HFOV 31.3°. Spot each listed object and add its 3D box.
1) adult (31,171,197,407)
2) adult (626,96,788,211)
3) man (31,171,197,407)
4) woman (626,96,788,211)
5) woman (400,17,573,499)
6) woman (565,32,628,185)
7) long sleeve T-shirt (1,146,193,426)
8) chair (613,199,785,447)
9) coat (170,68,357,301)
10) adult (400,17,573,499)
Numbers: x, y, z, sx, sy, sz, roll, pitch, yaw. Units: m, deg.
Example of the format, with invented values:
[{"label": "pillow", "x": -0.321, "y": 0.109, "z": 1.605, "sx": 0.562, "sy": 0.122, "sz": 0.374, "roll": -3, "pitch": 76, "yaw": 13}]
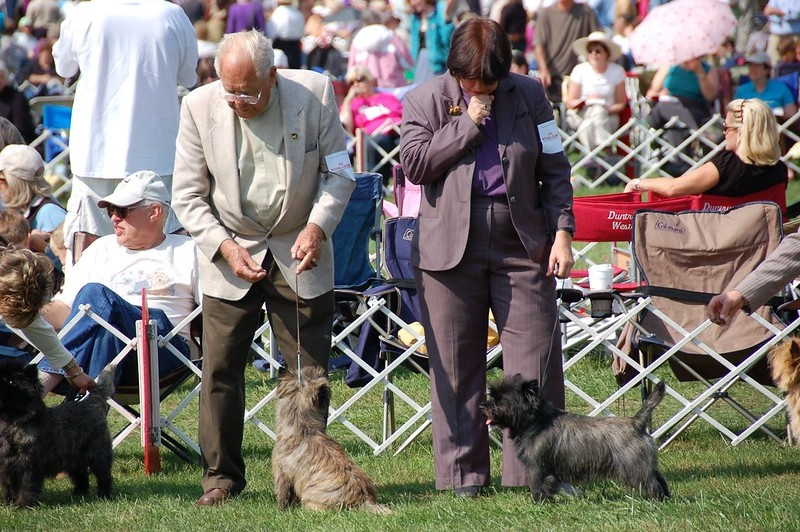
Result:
[{"label": "adult", "x": -2.419, "y": 0.270, "z": 12.364, "sx": 1.240, "sy": 1.984, "sz": 1.130, "roll": -9, "pitch": 19, "yaw": -5}, {"label": "adult", "x": 2.821, "y": -1.059, "z": 13.250, "sx": 1.045, "sy": 0.929, "sz": 1.495, "roll": -7, "pitch": 6, "yaw": -35}, {"label": "man", "x": -2.440, "y": 0.277, "z": 12.089, "sx": 1.352, "sy": 1.960, "sz": 1.020, "roll": -9, "pitch": 14, "yaw": -41}, {"label": "woman", "x": 2.784, "y": -1.063, "z": 13.240, "sx": 1.059, "sy": 0.927, "sz": 1.457, "roll": -9, "pitch": 8, "yaw": -43}, {"label": "woman", "x": 0.703, "y": -0.127, "z": 11.334, "sx": 1.138, "sy": 3.557, "sz": 1.025, "roll": 1, "pitch": 12, "yaw": 8}, {"label": "woman", "x": 2.454, "y": -1.964, "z": 17.935, "sx": 0.696, "sy": 1.961, "sz": 0.982, "roll": -1, "pitch": 6, "yaw": 12}, {"label": "long sleeve T-shirt", "x": -2.914, "y": 0.128, "z": 12.196, "sx": 1.184, "sy": 2.342, "sz": 1.692, "roll": -7, "pitch": -17, "yaw": 29}, {"label": "chair", "x": 2.701, "y": 0.227, "z": 12.828, "sx": 1.442, "sy": 2.533, "sz": 1.692, "roll": -1, "pitch": -7, "yaw": 17}, {"label": "coat", "x": -1.034, "y": -0.610, "z": 11.262, "sx": 1.255, "sy": 1.828, "sz": 0.986, "roll": -2, "pitch": 20, "yaw": 6}, {"label": "adult", "x": 0.708, "y": -0.112, "z": 11.304, "sx": 1.122, "sy": 3.529, "sz": 1.021, "roll": 1, "pitch": 7, "yaw": 13}]
